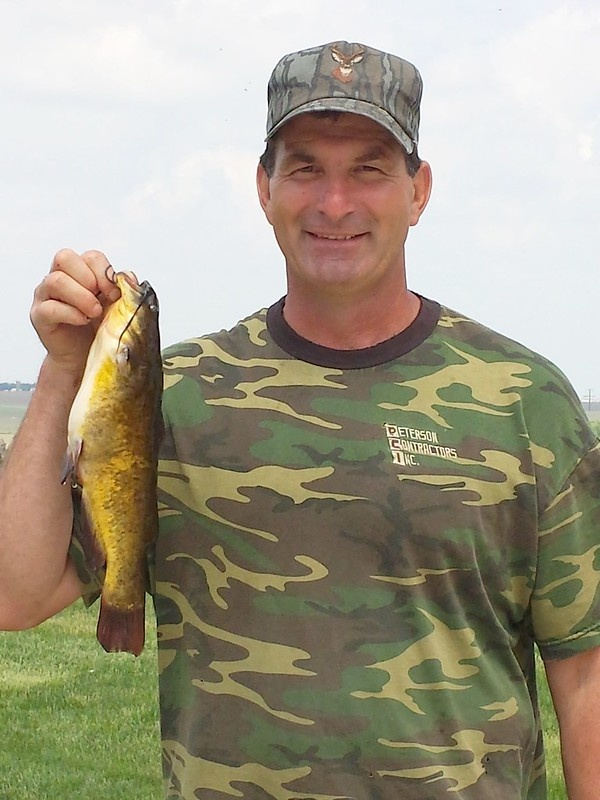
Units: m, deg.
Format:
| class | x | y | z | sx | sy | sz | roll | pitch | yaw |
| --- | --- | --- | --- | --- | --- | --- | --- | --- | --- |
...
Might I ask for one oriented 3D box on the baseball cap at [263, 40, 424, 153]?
| class | x | y | z | sx | sy | sz | roll | pitch | yaw |
| --- | --- | --- | --- | --- | --- | --- | --- | --- | --- |
| baseball cap | 0.123 | -0.890 | 2.671 | 0.463 | 0.346 | 0.270 | 0 | 6 | 3 |
